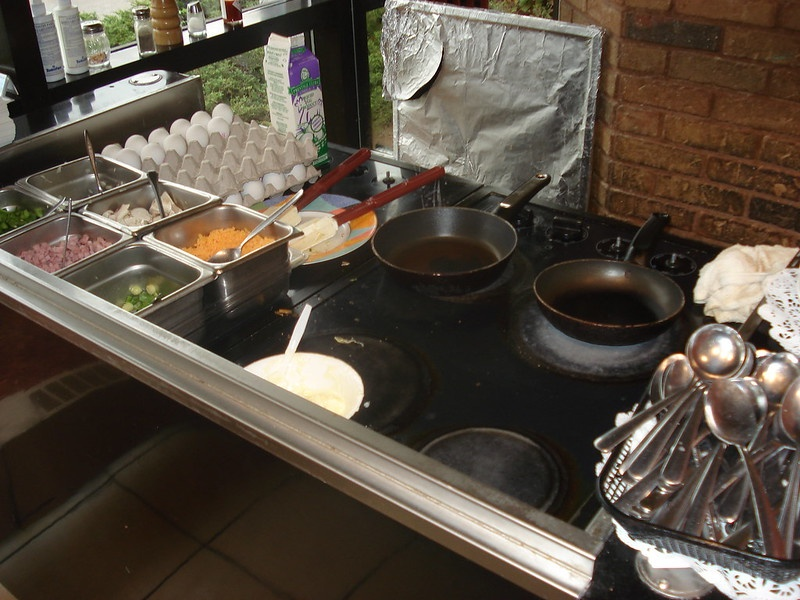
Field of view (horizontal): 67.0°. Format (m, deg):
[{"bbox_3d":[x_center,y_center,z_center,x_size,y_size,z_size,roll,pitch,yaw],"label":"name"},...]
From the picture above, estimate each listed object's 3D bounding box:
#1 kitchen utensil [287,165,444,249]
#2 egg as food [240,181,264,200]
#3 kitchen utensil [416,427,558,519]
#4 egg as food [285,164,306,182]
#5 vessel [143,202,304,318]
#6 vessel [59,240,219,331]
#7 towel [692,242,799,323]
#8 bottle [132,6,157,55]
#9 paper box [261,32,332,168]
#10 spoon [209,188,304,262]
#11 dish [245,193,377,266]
[{"bbox_3d":[-0.044,-0.194,1.408,0.466,0.046,0.126,-30,54,-22],"label":"kitchen utensil"},{"bbox_3d":[-0.354,-0.268,1.472,0.046,0.045,0.052,10,6,-5],"label":"egg as food"},{"bbox_3d":[0.136,0.212,0.822,0.190,0.032,0.105,26,41,28],"label":"kitchen utensil"},{"bbox_3d":[-0.271,-0.325,1.551,0.046,0.037,0.037,7,-2,23],"label":"egg as food"},{"bbox_3d":[-0.348,-0.073,1.190,0.211,0.121,0.263,27,40,24],"label":"vessel"},{"bbox_3d":[-0.460,-0.026,1.127,0.219,0.066,0.172,24,48,20],"label":"vessel"},{"bbox_3d":[0.600,-0.045,1.058,0.150,0.041,0.152,-47,30,-7],"label":"towel"},{"bbox_3d":[-0.978,-1.029,2.311,0.068,0.158,0.121,-10,38,-19],"label":"bottle"},{"bbox_3d":[-0.297,-0.556,1.698,0.152,0.353,0.151,-6,38,-7],"label":"paper box"},{"bbox_3d":[-0.306,-0.154,1.269,0.052,0.037,0.264,35,58,22],"label":"spoon"},{"bbox_3d":[-0.250,-0.180,1.513,0.283,0.032,0.292,-24,-13,21],"label":"dish"}]
